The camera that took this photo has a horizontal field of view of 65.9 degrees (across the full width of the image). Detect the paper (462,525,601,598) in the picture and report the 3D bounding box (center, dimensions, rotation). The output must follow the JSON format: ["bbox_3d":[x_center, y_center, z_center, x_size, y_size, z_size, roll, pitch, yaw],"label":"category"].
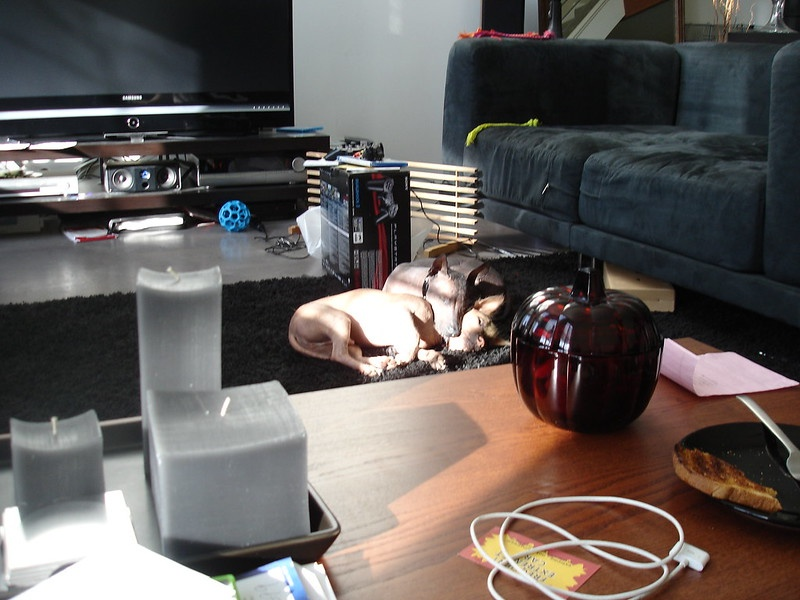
[{"bbox_3d":[0.116,0.234,0.554,0.114,0.010,0.055,10,26,30],"label":"paper"}]

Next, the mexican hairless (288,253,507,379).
[{"bbox_3d":[0.010,0.036,1.635,0.558,0.328,0.251,1,-1,-2],"label":"mexican hairless"}]

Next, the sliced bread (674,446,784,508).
[{"bbox_3d":[0.331,0.183,0.629,0.097,0.026,0.083,7,25,25],"label":"sliced bread"}]

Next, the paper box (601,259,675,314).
[{"bbox_3d":[0.798,-0.040,2.034,0.244,0.068,0.281,5,24,-15],"label":"paper box"}]
